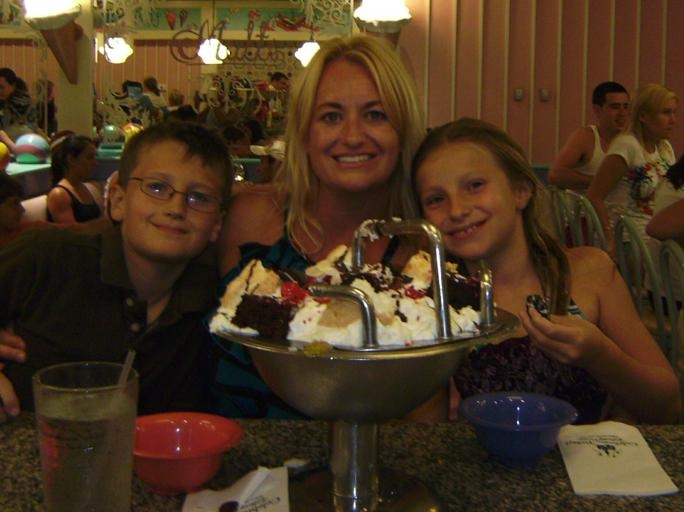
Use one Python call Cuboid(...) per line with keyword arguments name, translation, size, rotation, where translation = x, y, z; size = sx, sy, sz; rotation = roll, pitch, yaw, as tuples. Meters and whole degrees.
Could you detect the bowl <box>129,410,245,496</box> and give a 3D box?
Cuboid(name="bowl", translation=(-0.277, 0.318, 0.876), size=(0.216, 0.085, 0.177), rotation=(3, 3, 1))
